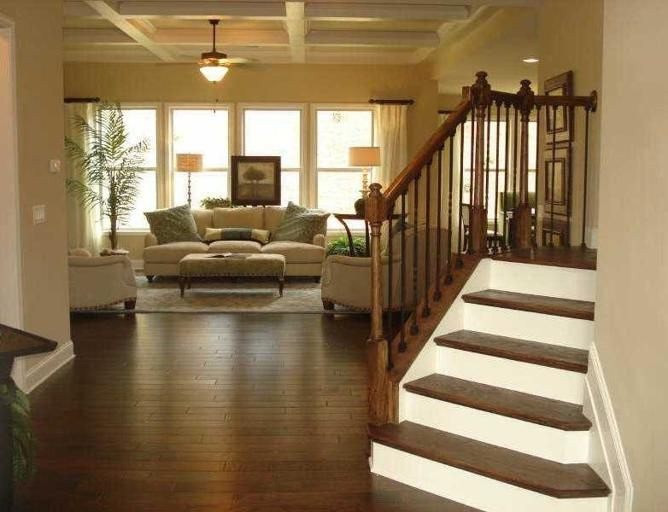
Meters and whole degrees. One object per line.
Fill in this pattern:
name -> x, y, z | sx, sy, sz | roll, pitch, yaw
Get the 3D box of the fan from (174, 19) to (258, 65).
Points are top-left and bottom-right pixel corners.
fan -> -1.661, -3.026, 7.488 | 0.546, 0.579, 0.551 | 22, 30, 36

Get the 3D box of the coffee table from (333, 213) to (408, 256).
coffee table -> 0.305, -0.321, 7.236 | 0.819, 0.544, 0.803 | 0, 0, -6

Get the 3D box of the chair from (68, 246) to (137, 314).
chair -> -2.694, 0.245, 6.172 | 0.659, 0.568, 0.677 | -3, 6, -36

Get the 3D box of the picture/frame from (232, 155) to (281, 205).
picture/frame -> -1.397, -1.360, 9.446 | 0.904, 0.870, 0.034 | 0, 6, -6
